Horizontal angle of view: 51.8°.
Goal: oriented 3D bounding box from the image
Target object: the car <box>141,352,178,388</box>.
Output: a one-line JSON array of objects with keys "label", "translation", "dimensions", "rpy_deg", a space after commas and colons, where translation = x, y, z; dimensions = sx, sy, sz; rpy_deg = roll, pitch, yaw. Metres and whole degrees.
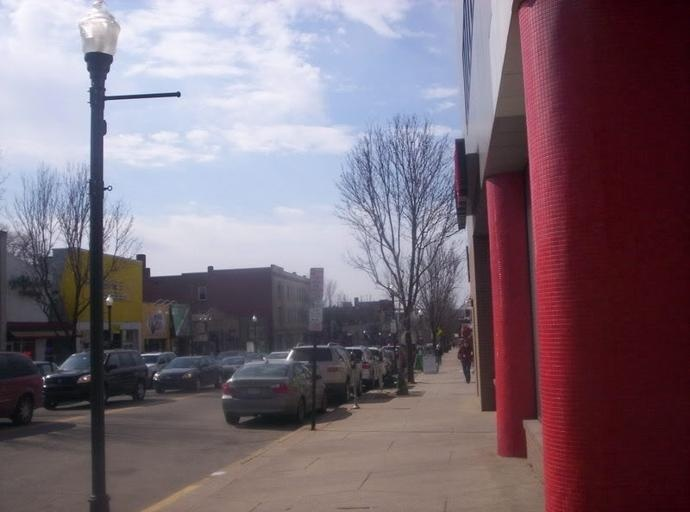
[{"label": "car", "translation": [-8.930, 5.218, 33.128], "dimensions": [1.306, 1.459, 3.134], "rpy_deg": [-2, -13, 3]}]

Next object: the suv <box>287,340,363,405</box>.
[{"label": "suv", "translation": [-0.445, 3.670, 22.459], "dimensions": [1.123, 1.260, 2.684], "rpy_deg": [-2, -6, 14]}]

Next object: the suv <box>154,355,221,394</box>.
[{"label": "suv", "translation": [-6.247, 4.829, 29.214], "dimensions": [1.183, 1.033, 2.920], "rpy_deg": [-3, -14, 10]}]

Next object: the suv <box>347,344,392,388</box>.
[{"label": "suv", "translation": [1.045, 4.553, 29.094], "dimensions": [1.157, 1.280, 2.924], "rpy_deg": [-2, -4, 16]}]
